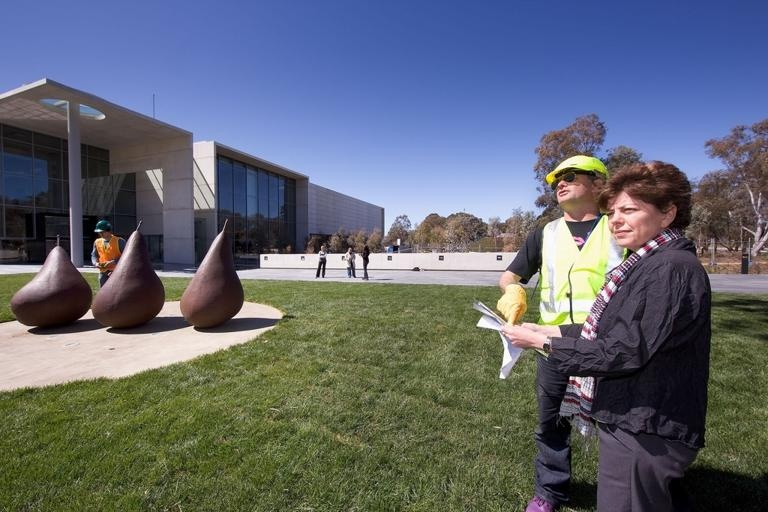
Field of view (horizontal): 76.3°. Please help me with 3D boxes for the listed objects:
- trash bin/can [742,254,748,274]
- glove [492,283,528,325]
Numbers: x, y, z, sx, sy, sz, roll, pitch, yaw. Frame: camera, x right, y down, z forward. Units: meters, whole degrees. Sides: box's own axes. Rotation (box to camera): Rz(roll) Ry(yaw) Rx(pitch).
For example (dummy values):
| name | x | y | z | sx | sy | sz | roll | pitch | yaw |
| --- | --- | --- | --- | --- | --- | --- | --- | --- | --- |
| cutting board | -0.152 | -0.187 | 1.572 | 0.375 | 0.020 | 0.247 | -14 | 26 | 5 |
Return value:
| name | x | y | z | sx | sy | sz | roll | pitch | yaw |
| --- | --- | --- | --- | --- | --- | --- | --- | --- | --- |
| trash bin/can | 19.537 | 0.446 | 26.392 | 0.341 | 0.879 | 0.895 | 10 | 16 | 35 |
| glove | 1.239 | 0.527 | 4.858 | 0.169 | 0.465 | 0.342 | -6 | 1 | 27 |
